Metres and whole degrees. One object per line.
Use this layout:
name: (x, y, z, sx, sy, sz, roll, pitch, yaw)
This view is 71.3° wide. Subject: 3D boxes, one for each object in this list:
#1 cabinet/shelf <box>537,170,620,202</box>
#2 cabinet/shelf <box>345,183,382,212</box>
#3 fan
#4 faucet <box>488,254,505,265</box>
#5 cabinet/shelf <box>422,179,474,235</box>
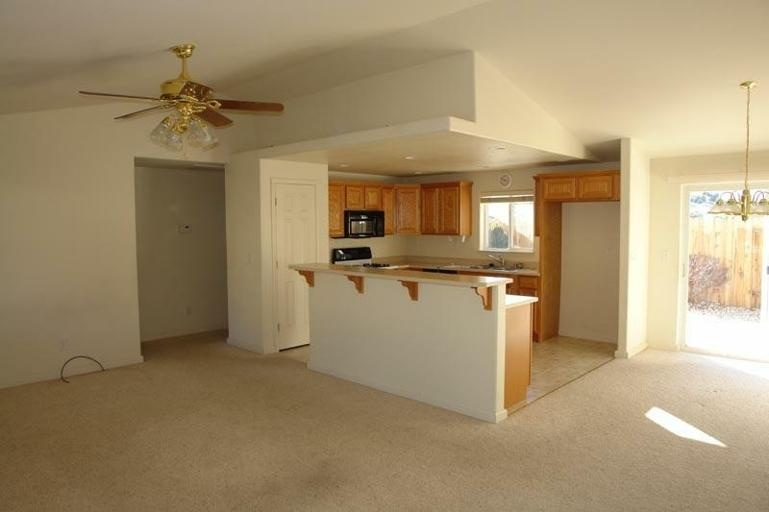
cabinet/shelf: (3.072, -1.066, 8.296, 0.412, 0.456, 1.322, -5, 7, -40)
cabinet/shelf: (-0.400, -1.058, 9.619, 0.169, 0.330, 0.536, 3, 5, 45)
fan: (-2.289, -1.901, 5.900, 1.029, 0.473, 0.930, -2, -8, 13)
faucet: (2.004, 0.062, 9.486, 0.140, 0.170, 0.454, -4, 12, -20)
cabinet/shelf: (1.196, -0.884, 9.785, 1.024, 1.017, 0.436, 1, -1, 40)
